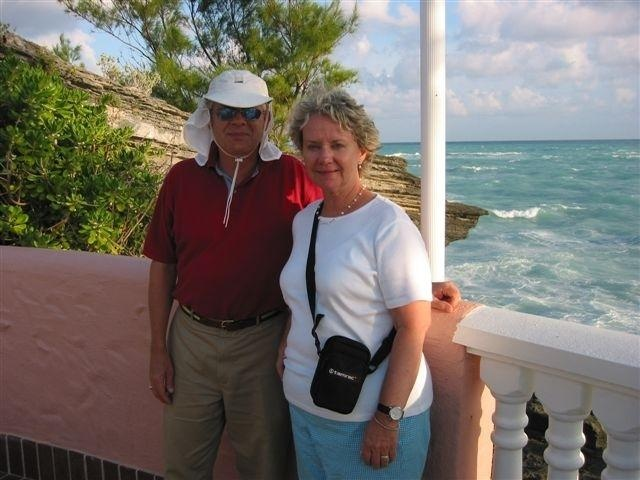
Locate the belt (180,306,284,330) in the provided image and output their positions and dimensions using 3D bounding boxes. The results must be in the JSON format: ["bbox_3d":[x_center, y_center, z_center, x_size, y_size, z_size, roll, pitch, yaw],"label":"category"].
[{"bbox_3d":[-0.422,0.392,2.655,0.456,0.088,0.094,0,9,-5],"label":"belt"}]

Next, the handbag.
[{"bbox_3d":[0.080,0.536,2.166,0.186,0.306,0.153,16,11,-8],"label":"handbag"}]
